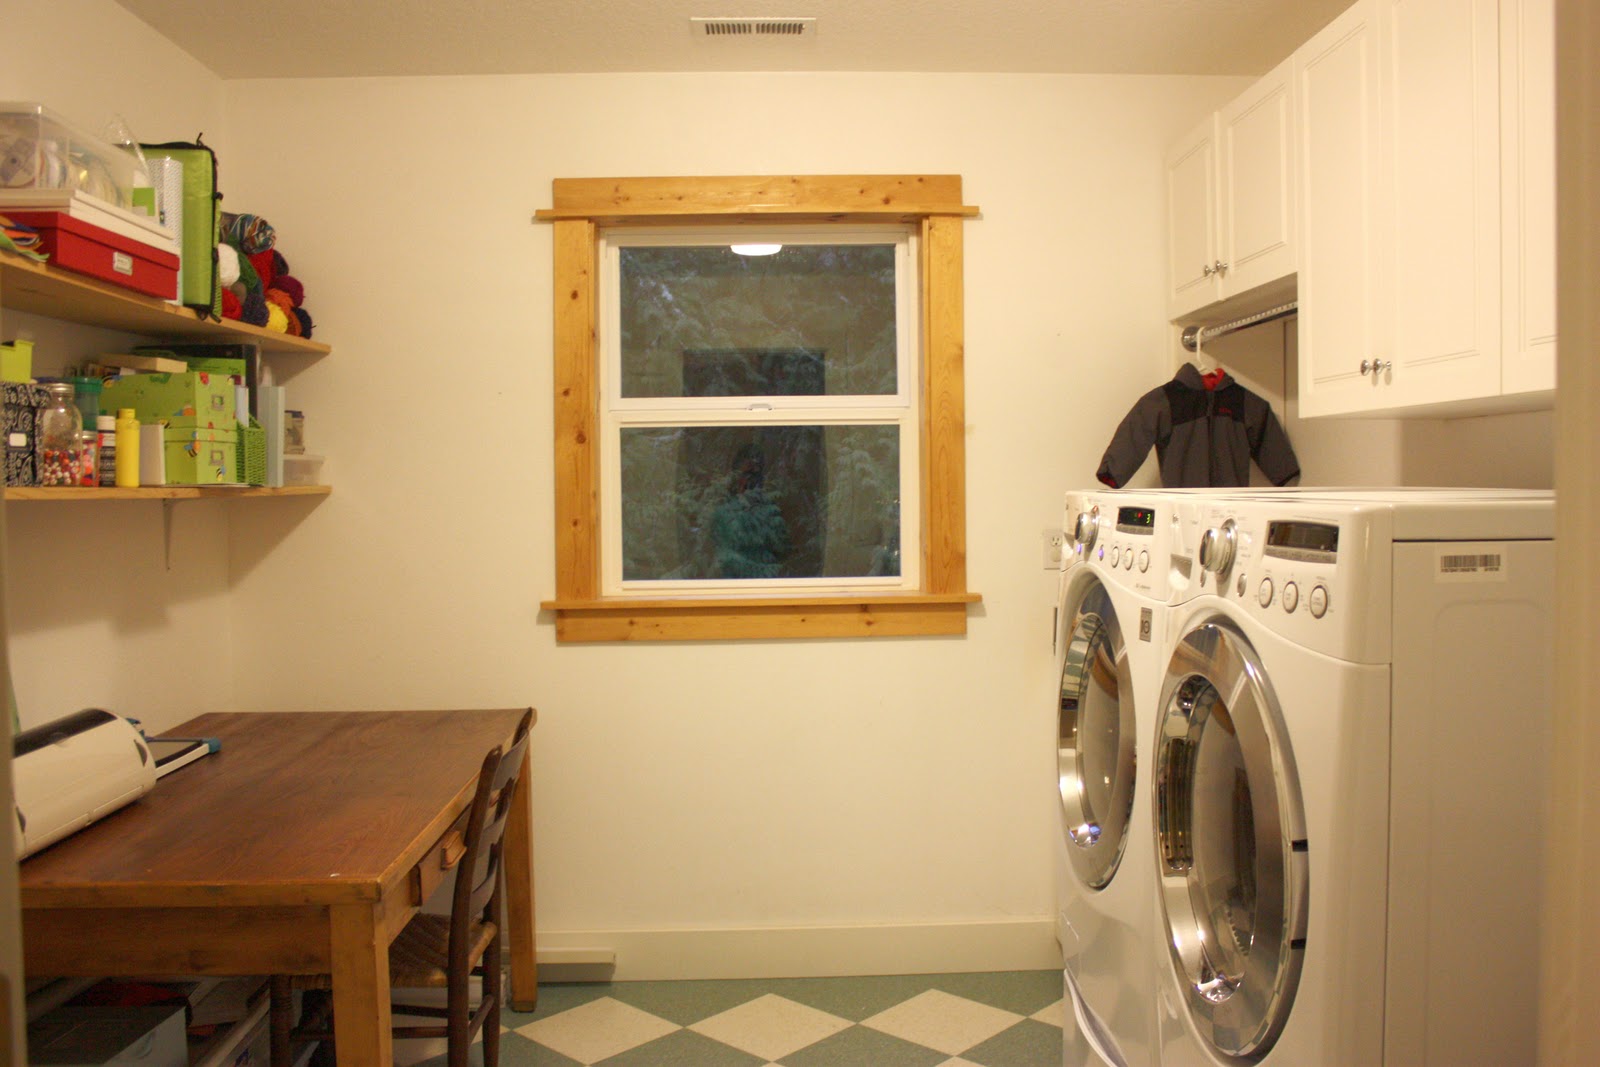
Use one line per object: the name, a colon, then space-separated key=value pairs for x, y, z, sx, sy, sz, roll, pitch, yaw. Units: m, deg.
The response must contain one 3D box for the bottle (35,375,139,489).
bottle: x=-1.852 y=-0.252 z=2.981 sx=0.151 sy=0.294 sz=0.268 roll=-1 pitch=12 yaw=-6
